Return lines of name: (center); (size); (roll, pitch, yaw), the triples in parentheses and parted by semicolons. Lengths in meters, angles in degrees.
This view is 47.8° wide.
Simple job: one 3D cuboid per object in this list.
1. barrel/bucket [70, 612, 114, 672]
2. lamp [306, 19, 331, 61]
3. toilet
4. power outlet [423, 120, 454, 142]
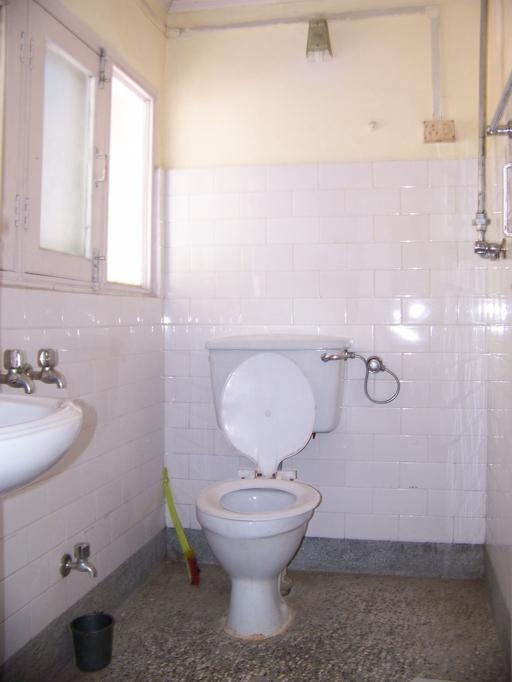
barrel/bucket: (-0.459, 0.843, 1.617); (0.121, 0.124, 0.136); (-1, -7, 1)
lamp: (0.242, -1.174, 2.258); (0.101, 0.140, 0.140); (0, 1, 6)
toilet: (0.037, 0.390, 1.944); (0.510, 0.933, 0.869); (0, 0, 12)
power outlet: (0.709, -0.803, 2.238); (0.119, 0.089, 0.014); (0, 1, 10)
